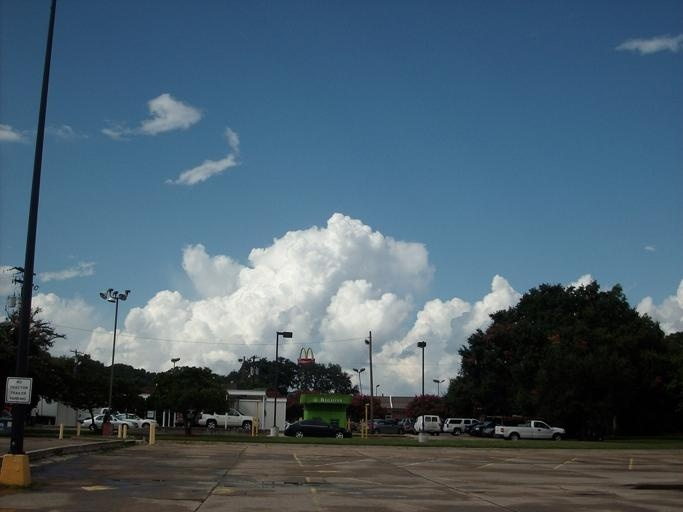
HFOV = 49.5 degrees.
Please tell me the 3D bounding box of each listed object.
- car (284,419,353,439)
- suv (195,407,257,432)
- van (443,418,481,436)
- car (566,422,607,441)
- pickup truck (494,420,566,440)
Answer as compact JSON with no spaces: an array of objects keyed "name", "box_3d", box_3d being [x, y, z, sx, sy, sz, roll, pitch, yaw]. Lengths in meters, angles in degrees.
[{"name":"car","box_3d":[-1.893,13.042,56.181,4.582,1.279,1.084,0,-15,0]},{"name":"suv","box_3d":[-10.789,15.214,69.151,4.642,2.152,3.560,2,-15,-7]},{"name":"van","box_3d":[12.336,17.741,76.198,3.072,1.236,1.777,-3,0,4]},{"name":"car","box_3d":[21.161,14.662,63.339,1.874,1.396,2.563,-4,-4,4]},{"name":"pickup truck","box_3d":[15.345,14.136,59.956,3.878,1.488,2.236,-2,-5,6]}]
